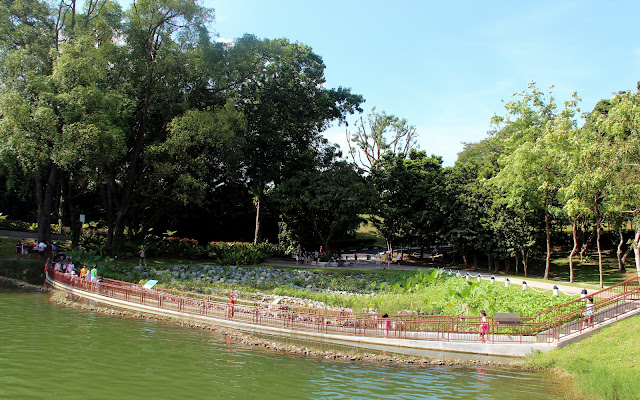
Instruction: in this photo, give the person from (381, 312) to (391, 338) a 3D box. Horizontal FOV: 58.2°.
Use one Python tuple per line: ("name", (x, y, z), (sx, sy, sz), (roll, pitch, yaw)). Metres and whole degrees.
("person", (4.915, 9.070, 41.905), (0.621, 1.432, 1.058), (1, 14, -5))
